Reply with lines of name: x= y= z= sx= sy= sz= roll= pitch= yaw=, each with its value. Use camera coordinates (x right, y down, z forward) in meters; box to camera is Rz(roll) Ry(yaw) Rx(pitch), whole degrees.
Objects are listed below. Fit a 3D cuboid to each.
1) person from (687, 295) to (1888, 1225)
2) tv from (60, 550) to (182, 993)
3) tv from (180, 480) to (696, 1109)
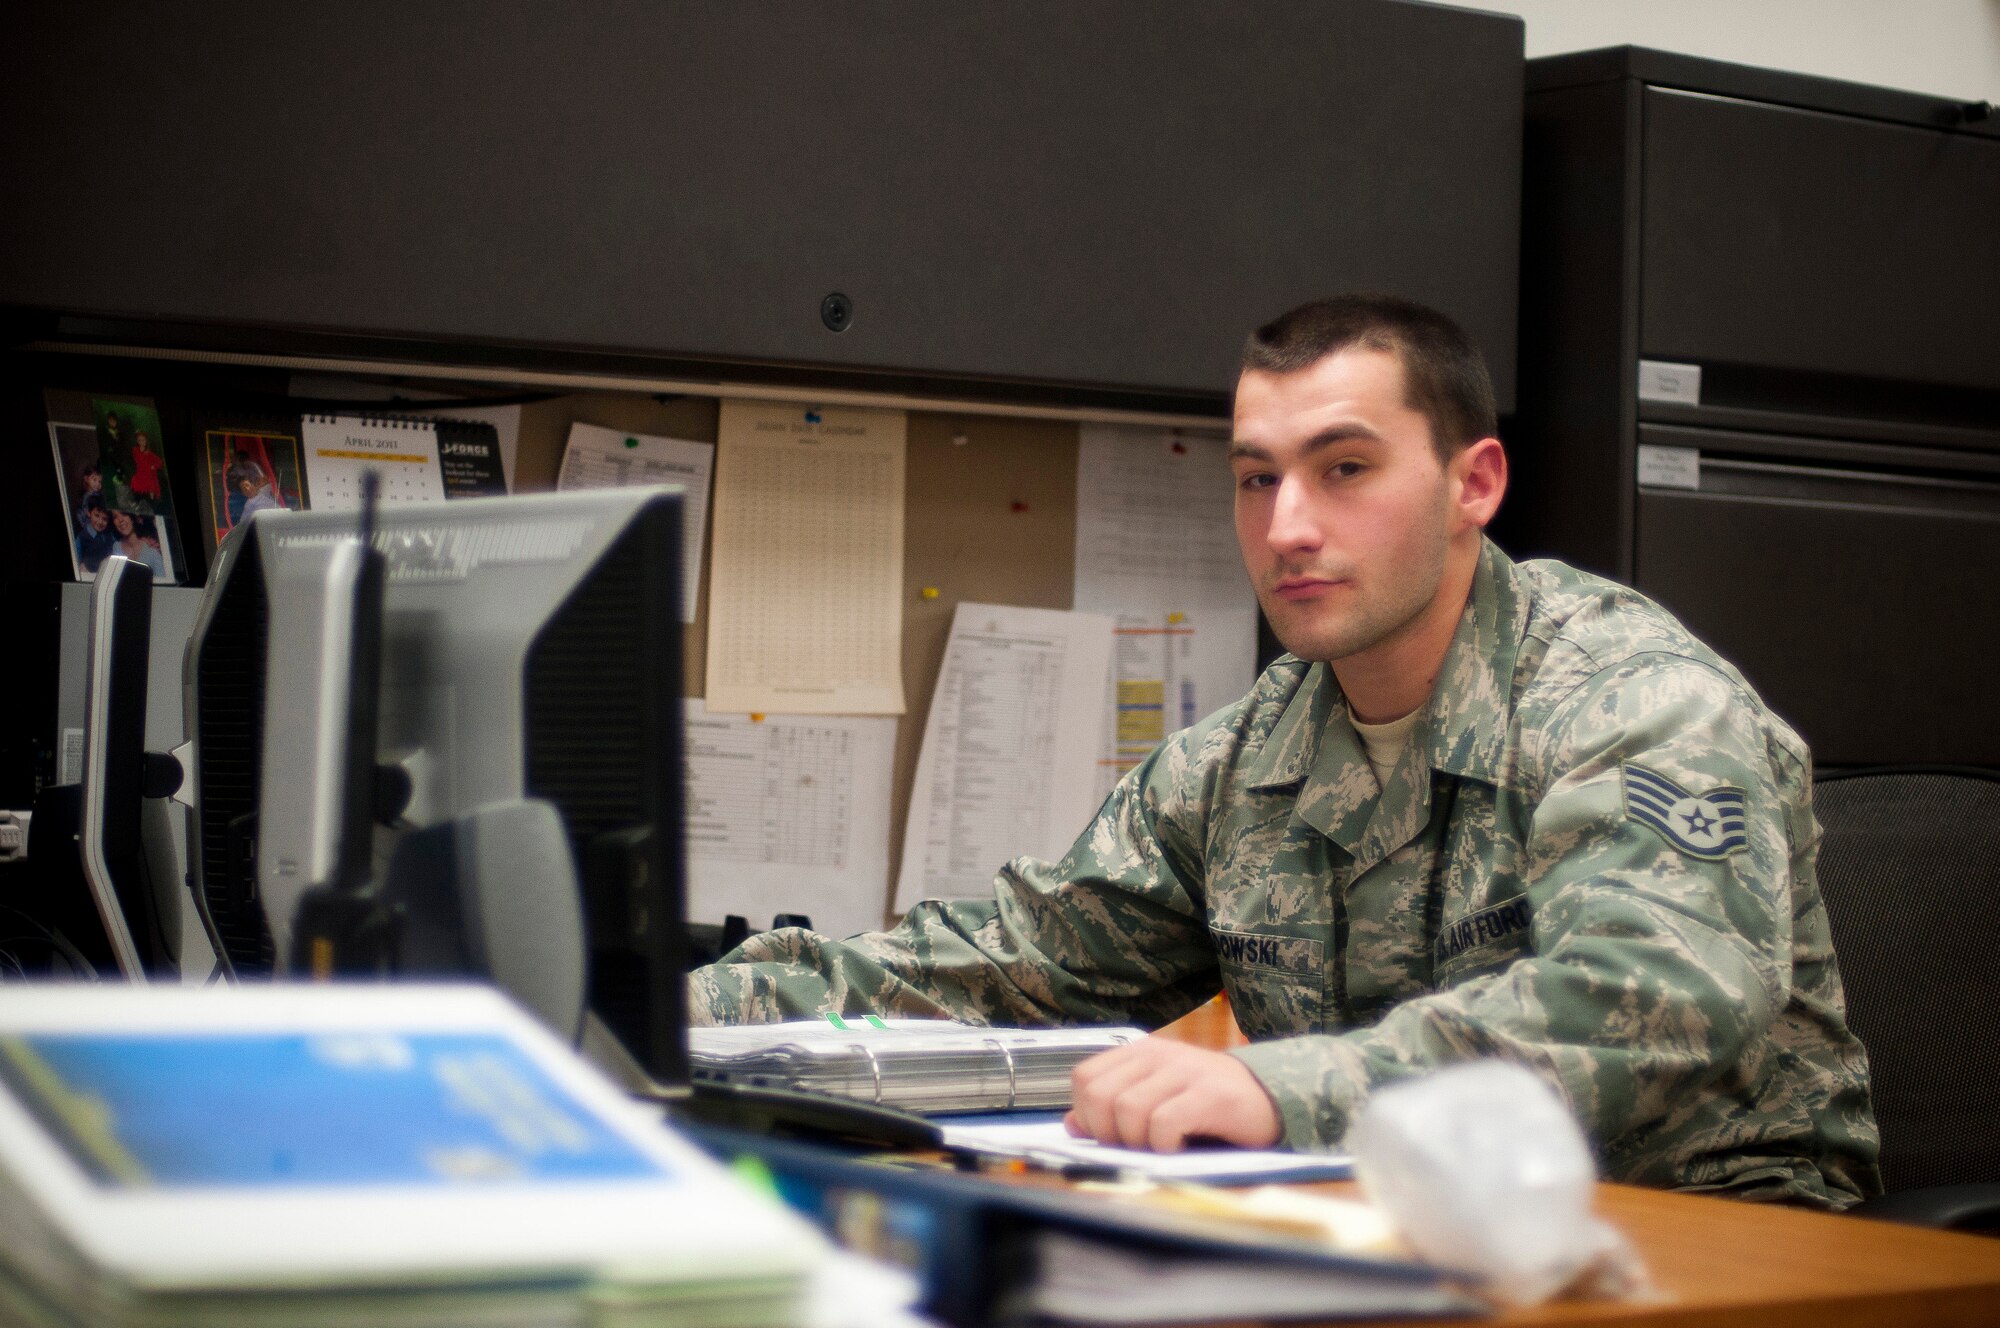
person: x=0.372 y=0.039 z=1.918 sx=1.047 sy=0.973 sz=0.792 roll=6 pitch=-9 yaw=-34
tv: x=-0.765 y=0.098 z=1.654 sx=0.071 sy=0.312 sz=0.229 roll=1 pitch=0 yaw=-19
tv: x=-0.443 y=0.110 z=1.317 sx=0.455 sy=0.405 sz=0.151 roll=-7 pitch=-8 yaw=27
